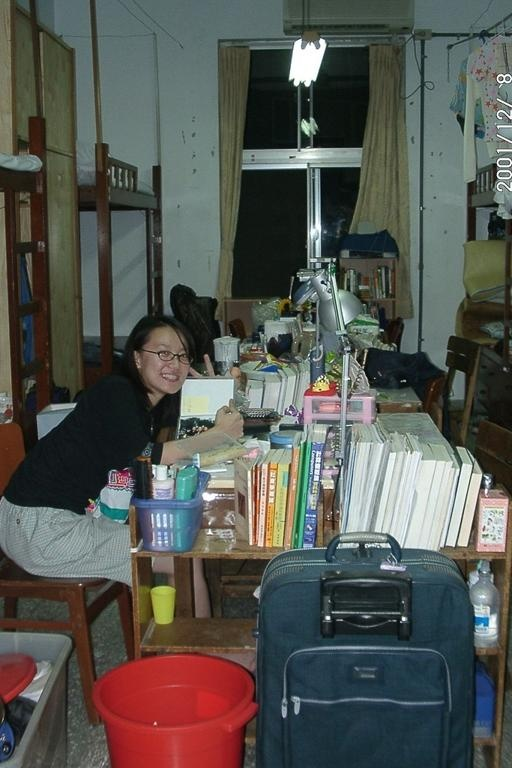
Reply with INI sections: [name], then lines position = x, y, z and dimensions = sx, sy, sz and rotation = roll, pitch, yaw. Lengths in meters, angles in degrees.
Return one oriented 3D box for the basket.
[basket]
position = -0.199, 0.295, 1.416
dimensions = 0.197, 0.149, 0.281
rotation = -1, -6, 0
